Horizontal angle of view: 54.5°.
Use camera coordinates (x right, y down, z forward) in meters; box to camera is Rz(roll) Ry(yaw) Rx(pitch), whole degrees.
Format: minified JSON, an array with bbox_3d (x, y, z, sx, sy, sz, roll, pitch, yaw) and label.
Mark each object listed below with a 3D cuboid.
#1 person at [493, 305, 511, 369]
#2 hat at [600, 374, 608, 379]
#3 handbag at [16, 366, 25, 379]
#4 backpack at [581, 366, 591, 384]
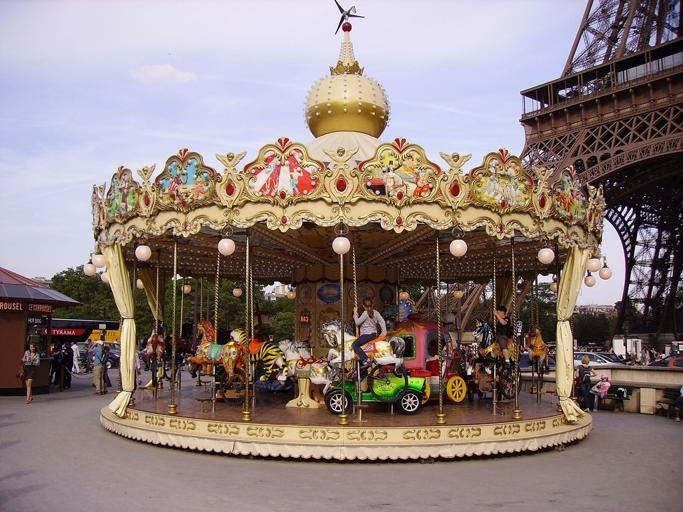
[{"bbox_3d":[4.156,2.025,16.970,0.391,1.407,0.565,1,0,27],"label":"person"},{"bbox_3d":[8.377,3.823,21.049,0.131,0.140,0.169,2,-10,-13],"label":"hat"},{"bbox_3d":[-10.442,3.780,21.561,0.153,0.471,0.596,1,0,-34],"label":"handbag"},{"bbox_3d":[7.676,3.718,20.911,0.280,0.457,0.229,1,0,15],"label":"backpack"}]
